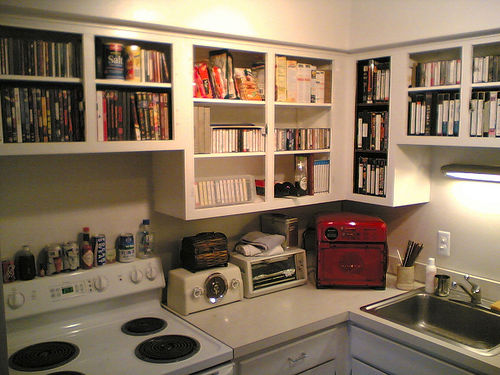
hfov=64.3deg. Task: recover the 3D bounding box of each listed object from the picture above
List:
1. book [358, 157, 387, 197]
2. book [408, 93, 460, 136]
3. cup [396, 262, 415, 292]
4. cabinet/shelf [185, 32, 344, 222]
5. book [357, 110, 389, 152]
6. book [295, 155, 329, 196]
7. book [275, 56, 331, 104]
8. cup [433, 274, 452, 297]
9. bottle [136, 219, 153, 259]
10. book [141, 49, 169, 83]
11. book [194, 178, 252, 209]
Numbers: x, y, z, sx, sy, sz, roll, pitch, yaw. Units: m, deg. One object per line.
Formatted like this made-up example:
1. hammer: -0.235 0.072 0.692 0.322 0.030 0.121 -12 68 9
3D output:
1. book: 0.858 -0.075 2.949 0.228 0.312 0.317 0 2 -15
2. book: 1.191 -0.471 2.558 0.300 0.285 0.100 3 4 45
3. cup: 1.078 0.633 2.767 0.133 0.168 0.155 1 -2 6
4. cabinet/shelf: 0.087 -0.437 2.658 1.306 1.157 0.421 -3 3 -34
5. book: 0.867 -0.396 2.851 0.257 0.352 0.258 1 2 6
6. book: 0.438 -0.090 3.050 0.264 0.368 0.292 0 1 -19
7. book: 0.354 -0.749 2.755 0.354 0.262 0.190 -4 7 -34
8. cup: 1.281 0.670 2.673 0.102 0.140 0.133 -1 -4 13
9. bottle: -0.681 0.340 2.565 0.100 0.215 0.124 -2 13 -12
10. book: -0.526 -0.677 2.288 0.164 0.235 0.172 -1 5 -6
11. book: -0.154 0.041 2.550 0.342 0.183 0.111 -3 -1 -32
